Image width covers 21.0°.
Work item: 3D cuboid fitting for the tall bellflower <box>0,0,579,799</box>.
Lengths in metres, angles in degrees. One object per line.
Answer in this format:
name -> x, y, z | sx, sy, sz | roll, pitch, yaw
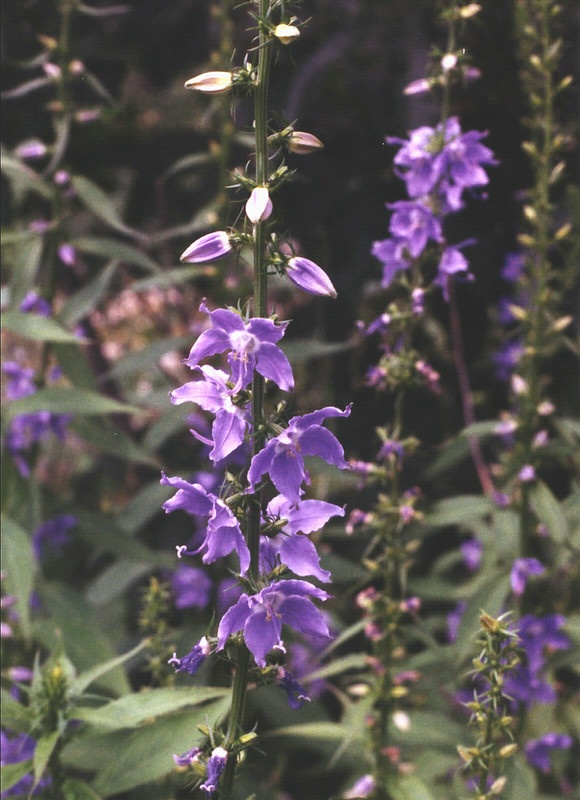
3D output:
tall bellflower -> -0.051, 0.105, 2.408 | 1.099, 1.141, 0.419 | 2, -5, 17
